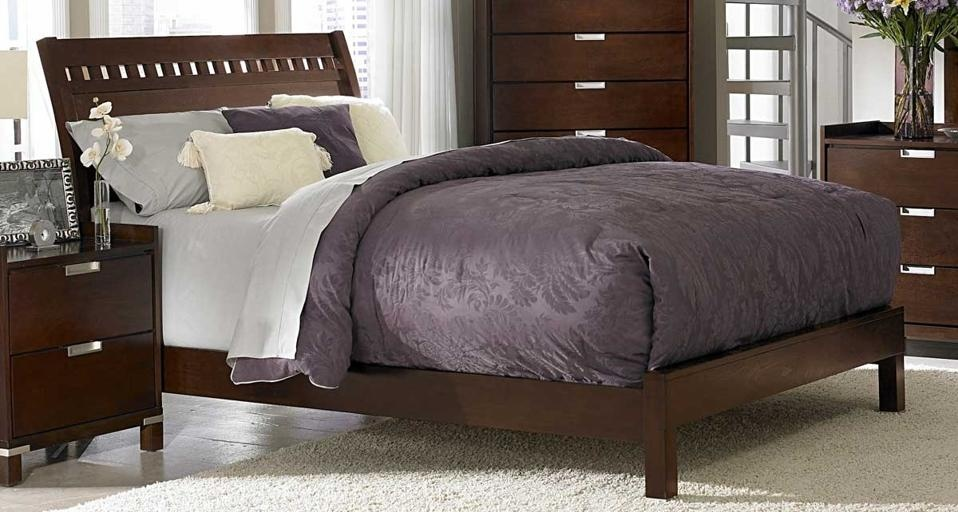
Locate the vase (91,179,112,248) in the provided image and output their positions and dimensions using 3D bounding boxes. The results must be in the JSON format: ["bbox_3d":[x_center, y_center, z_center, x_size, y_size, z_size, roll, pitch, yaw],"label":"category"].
[{"bbox_3d":[-1.714,-0.198,3.412,0.106,0.274,0.102,-2,7,-39],"label":"vase"}]
